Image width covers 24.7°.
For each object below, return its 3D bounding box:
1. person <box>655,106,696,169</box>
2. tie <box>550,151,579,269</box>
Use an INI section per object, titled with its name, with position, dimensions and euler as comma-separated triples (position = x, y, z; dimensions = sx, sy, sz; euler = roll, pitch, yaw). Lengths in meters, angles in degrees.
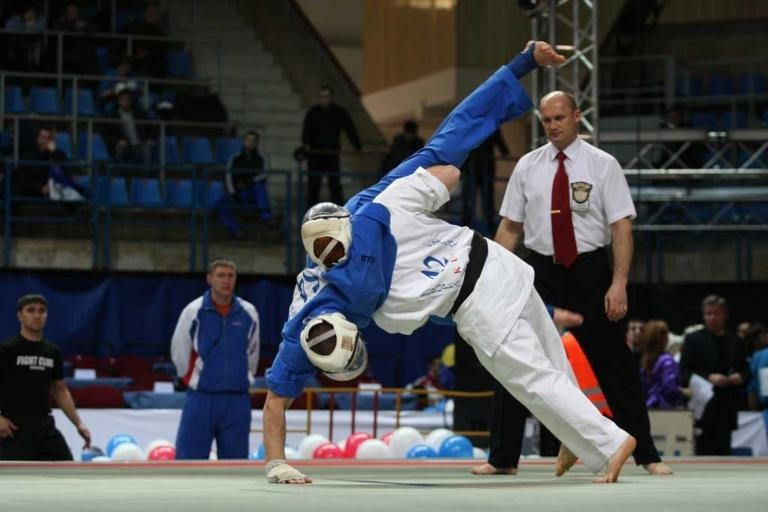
[person]
position = 4.330, -1.757, 25.904
dimensions = 0.409, 1.047, 0.387
euler = 0, -2, -15
[tie]
position = 2.120, -0.488, 20.392
dimensions = 0.264, 1.228, 0.267
euler = 1, 1, 5
